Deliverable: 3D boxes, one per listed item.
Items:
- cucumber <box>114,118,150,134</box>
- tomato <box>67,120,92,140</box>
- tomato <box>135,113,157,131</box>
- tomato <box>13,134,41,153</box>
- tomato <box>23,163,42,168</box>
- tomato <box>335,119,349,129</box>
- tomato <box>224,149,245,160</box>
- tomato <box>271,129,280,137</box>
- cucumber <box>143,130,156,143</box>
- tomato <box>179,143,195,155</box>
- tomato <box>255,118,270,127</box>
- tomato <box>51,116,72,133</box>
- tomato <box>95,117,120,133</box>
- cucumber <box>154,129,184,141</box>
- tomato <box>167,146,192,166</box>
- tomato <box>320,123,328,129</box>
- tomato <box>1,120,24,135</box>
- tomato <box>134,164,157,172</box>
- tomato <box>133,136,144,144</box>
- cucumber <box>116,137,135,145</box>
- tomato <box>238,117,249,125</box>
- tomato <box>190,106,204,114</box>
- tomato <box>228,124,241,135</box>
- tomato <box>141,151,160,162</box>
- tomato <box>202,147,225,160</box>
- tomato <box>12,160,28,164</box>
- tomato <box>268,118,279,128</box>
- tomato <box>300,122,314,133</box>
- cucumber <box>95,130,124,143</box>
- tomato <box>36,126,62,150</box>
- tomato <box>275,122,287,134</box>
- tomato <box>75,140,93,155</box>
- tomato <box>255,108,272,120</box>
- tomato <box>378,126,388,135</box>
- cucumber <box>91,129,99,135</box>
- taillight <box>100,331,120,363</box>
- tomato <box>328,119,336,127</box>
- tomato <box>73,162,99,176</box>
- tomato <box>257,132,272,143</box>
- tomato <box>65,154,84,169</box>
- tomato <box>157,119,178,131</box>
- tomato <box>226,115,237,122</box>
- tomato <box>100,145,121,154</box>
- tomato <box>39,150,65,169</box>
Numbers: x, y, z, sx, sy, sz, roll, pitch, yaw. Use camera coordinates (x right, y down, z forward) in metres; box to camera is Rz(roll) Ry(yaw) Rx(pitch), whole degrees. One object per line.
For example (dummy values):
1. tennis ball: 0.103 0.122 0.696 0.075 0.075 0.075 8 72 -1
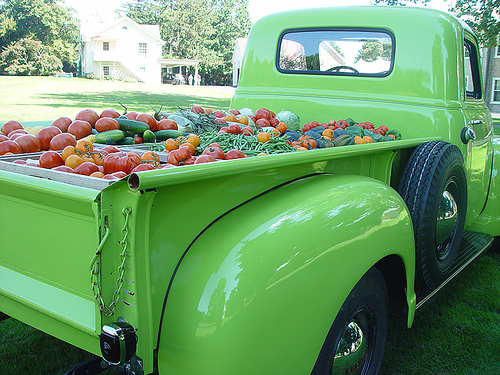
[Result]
1. cucumber: -0.890 -0.480 2.731 0.287 0.100 0.112 8 37 -4
2. tomato: -1.230 -0.421 2.547 0.162 0.124 0.134 4 15 10
3. tomato: -0.814 -0.535 2.803 0.124 0.170 0.139 -2 2 7
4. tomato: -1.414 -0.285 2.250 0.124 0.133 0.126 -24 7 -27
5. tomato: -1.072 -0.111 1.723 0.031 0.024 0.040 2 7 -7
6. tomato: 0.862 -0.597 3.273 0.086 0.102 0.093 4 -22 -12
7. tomato: -0.090 -0.201 2.097 0.102 0.042 0.155 4 15 9
8. tomato: 0.222 -0.455 2.919 0.069 0.053 0.087 -6 -2 0
9. cucumber: -0.758 -0.389 2.672 0.066 0.102 0.077 11 29 19
10. tomato: -0.387 -0.259 2.191 0.086 0.083 0.076 15 13 30
11. tomato: 0.125 -0.608 3.222 0.090 0.100 0.086 1 -12 -23
12. tomato: -1.403 -0.464 2.613 0.107 0.095 0.145 -4 7 -6
13. tomato: -1.073 -0.475 2.613 0.131 0.117 0.104 -10 10 -23
14. cucumber: -0.640 -0.416 2.789 0.261 0.107 0.085 -5 -1 -14
15. tomato: -0.401 -0.190 2.071 0.173 0.096 0.083 -11 19 -39
16. tomato: 0.707 -0.594 3.327 0.066 0.045 0.072 5 2 2
17. tomato: -1.774 -0.453 2.626 0.125 0.120 0.126 48 32 20
18. tomato: -0.487 -0.093 1.615 0.064 0.054 0.084 0 3 1
19. tomato: -0.849 -0.363 2.655 0.060 0.056 0.055 0 34 -11
20. cucumber: -0.919 -0.345 2.574 0.107 0.049 0.050 -8 6 -32
21. tomato: -0.058 -0.606 3.142 0.070 0.068 0.066 10 -27 30
22. tomato: -0.507 -0.768 3.373 0.109 0.041 0.115 25 19 38
23. tomato: -0.116 -0.461 2.785 0.075 0.083 0.079 2 -17 -8
24. tomato: -0.544 -0.143 1.906 0.071 0.086 0.060 10 -13 -40
25. tomato: -0.202 -0.205 2.037 0.082 0.091 0.082 -5 7 -36
26. tomato: -1.221 -0.136 1.855 0.037 0.029 0.048 1 -4 0
27. tomato: 0.229 -0.607 3.318 0.080 0.105 0.079 6 -6 -43
28. tomato: 0.550 -0.567 3.313 0.093 0.077 0.071 -37 -8 0
29. cucumber: -1.014 -0.382 2.536 0.178 0.079 0.083 -19 2 -27
30. tomato: -1.358 -0.339 2.404 0.144 0.156 0.143 -26 17 -38
31. tomato: 0.282 -0.529 3.102 0.073 0.081 0.073 -15 16 -27
32. tomato: -0.958 -0.240 2.029 0.071 0.055 0.091 -7 14 -12
33. tomato: 0.133 -0.724 3.388 0.109 0.114 0.123 14 58 34
34. tomato: 1.244 -0.543 3.236 0.053 0.079 0.041 -3 -33 -1
35. cucumber: -1.159 -0.421 2.618 0.057 0.028 0.048 4 6 21
36. taillight: -0.487 0.561 1.219 0.103 0.120 0.014 11 16 33
37. tomato: 0.790 -0.630 3.340 0.053 0.074 0.059 7 28 14
38. tomato: -0.800 -0.093 1.714 0.078 0.084 0.081 15 10 -15
39. tomato: 0.106 -0.369 2.600 0.068 0.057 0.070 -1 3 29
40. tomato: -0.923 -0.140 1.832 0.063 0.048 0.079 -3 14 -13
41. tomato: -0.674 -0.510 2.833 0.100 0.114 0.107 0 18 -3
42. tomato: -0.165 -0.630 3.155 0.069 0.066 0.057 8 14 -32
43. tomato: -0.851 -0.233 2.130 0.081 0.031 0.088 6 11 13
44. tomato: -1.053 -0.148 1.857 0.109 0.076 0.145 5 15 12
